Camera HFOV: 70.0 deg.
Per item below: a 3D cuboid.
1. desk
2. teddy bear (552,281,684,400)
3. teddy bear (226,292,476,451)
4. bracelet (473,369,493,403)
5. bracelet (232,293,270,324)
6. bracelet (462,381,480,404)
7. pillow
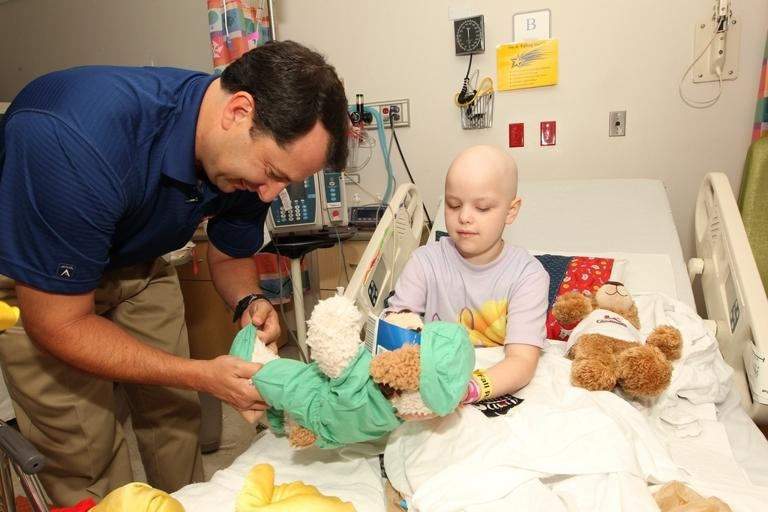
[{"bbox_3d":[-0.407,0.191,3.109,0.675,0.793,0.666,-4,7,-16],"label":"desk"},{"bbox_3d":[0.908,0.325,2.188,0.444,0.230,0.605,-7,29,3],"label":"teddy bear"},{"bbox_3d":[-0.031,0.397,1.696,0.616,0.317,0.352,-19,3,-2],"label":"teddy bear"},{"bbox_3d":[0.326,0.431,1.800,0.037,0.088,0.063,-2,-7,-18],"label":"bracelet"},{"bbox_3d":[-0.528,0.222,2.204,0.141,0.055,0.104,-50,7,-10],"label":"bracelet"},{"bbox_3d":[0.278,0.460,1.801,0.060,0.081,0.071,8,-22,-27],"label":"bracelet"},{"bbox_3d":[0.847,0.080,2.434,0.643,0.637,0.175,2,-10,4],"label":"pillow"}]
